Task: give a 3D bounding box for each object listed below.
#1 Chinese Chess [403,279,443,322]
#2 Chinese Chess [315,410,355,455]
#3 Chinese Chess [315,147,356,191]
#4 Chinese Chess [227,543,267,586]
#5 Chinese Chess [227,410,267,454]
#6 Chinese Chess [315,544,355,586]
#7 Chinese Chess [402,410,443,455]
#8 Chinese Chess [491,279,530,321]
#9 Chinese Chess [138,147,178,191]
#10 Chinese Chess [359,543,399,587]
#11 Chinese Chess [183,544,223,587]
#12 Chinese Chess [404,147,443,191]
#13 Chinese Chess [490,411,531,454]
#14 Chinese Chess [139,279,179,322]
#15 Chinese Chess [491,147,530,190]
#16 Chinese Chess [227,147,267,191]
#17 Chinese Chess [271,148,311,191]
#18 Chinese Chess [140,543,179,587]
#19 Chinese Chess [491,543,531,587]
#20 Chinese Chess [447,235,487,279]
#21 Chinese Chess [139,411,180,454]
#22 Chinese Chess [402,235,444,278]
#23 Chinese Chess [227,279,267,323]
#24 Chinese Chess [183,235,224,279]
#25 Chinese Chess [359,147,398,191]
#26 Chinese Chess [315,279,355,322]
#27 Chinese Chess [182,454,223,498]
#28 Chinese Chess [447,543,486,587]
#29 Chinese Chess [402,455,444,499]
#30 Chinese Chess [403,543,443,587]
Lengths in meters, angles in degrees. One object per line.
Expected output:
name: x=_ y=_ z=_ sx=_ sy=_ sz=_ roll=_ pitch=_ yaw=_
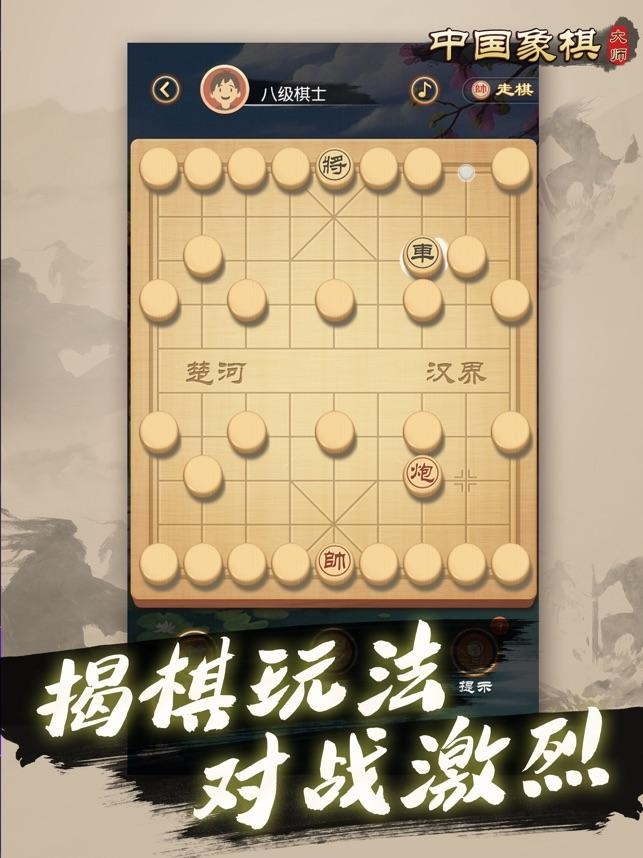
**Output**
Chinese Chess: x=0.218 y=-0.275 z=2.108 sx=0.107 sy=0.090 sz=0.023 roll=1 pitch=3 yaw=4
Chinese Chess: x=0.031 y=0.008 z=2.103 sx=0.099 sy=0.084 sz=0.022 roll=3 pitch=0 yaw=7
Chinese Chess: x=0.029 y=-0.563 z=2.116 sx=0.084 sy=0.089 sz=0.034 roll=-4 pitch=18 yaw=2
Chinese Chess: x=-0.159 y=0.297 z=2.099 sx=0.083 sy=0.090 sz=0.040 roll=-5 pitch=18 yaw=-3
Chinese Chess: x=-0.168 y=0.010 z=2.070 sx=0.097 sy=0.082 sz=0.021 roll=3 pitch=-1 yaw=8
Chinese Chess: x=0.029 y=0.297 z=2.101 sx=0.082 sy=0.085 sz=0.035 roll=-5 pitch=18 yaw=0
Chinese Chess: x=0.221 y=0.006 z=2.101 sx=0.110 sy=0.093 sz=0.024 roll=3 pitch=-1 yaw=4
Chinese Chess: x=0.409 y=-0.275 z=2.106 sx=0.083 sy=0.091 sz=0.035 roll=-3 pitch=18 yaw=6
Chinese Chess: x=-0.352 y=-0.565 z=2.119 sx=0.084 sy=0.094 sz=0.037 roll=-6 pitch=18 yaw=-6
Chinese Chess: x=0.124 y=0.296 z=2.096 sx=0.106 sy=0.089 sz=0.023 roll=3 pitch=2 yaw=0
Chinese Chess: x=-0.257 y=0.295 z=2.097 sx=0.095 sy=0.080 sz=0.020 roll=5 pitch=2 yaw=0
Chinese Chess: x=0.220 y=-0.569 z=2.110 sx=0.108 sy=0.091 sz=0.023 roll=2 pitch=3 yaw=1
Chinese Chess: x=0.409 y=0.007 z=2.101 sx=0.110 sy=0.093 sz=0.024 roll=1 pitch=0 yaw=5
Chinese Chess: x=-0.351 y=-0.275 z=2.115 sx=0.084 sy=0.092 sz=0.036 roll=-7 pitch=18 yaw=-7
Chinese Chess: x=0.410 y=-0.565 z=2.105 sx=0.096 sy=0.081 sz=0.020 roll=1 pitch=1 yaw=-1
Chinese Chess: x=-0.165 y=-0.554 z=2.089 sx=0.096 sy=0.081 sz=0.021 roll=2 pitch=3 yaw=4
Chinese Chess: x=-0.065 y=-0.565 z=2.112 sx=0.096 sy=0.081 sz=0.020 roll=2 pitch=2 yaw=3
Chinese Chess: x=-0.349 y=0.292 z=2.098 sx=0.095 sy=0.080 sz=0.021 roll=6 pitch=1 yaw=3
Chinese Chess: x=0.406 y=0.289 z=2.092 sx=0.110 sy=0.093 sz=0.023 roll=1 pitch=-1 yaw=3
Chinese Chess: x=0.317 y=-0.375 z=2.110 sx=0.110 sy=0.093 sz=0.024 roll=1 pitch=2 yaw=3
Chinese Chess: x=-0.353 y=0.010 z=2.101 sx=0.096 sy=0.082 sz=0.031 roll=10 pitch=0 yaw=0
Chinese Chess: x=0.219 y=-0.372 z=2.117 sx=0.088 sy=0.088 sz=0.037 roll=-2 pitch=18 yaw=7
Chinese Chess: x=-0.159 y=-0.274 z=2.114 sx=0.084 sy=0.094 sz=0.035 roll=-5 pitch=18 yaw=-1
Chinese Chess: x=-0.256 y=-0.371 z=2.119 sx=0.085 sy=0.094 sz=0.036 roll=-6 pitch=18 yaw=-6
Chinese Chess: x=0.123 y=-0.569 z=2.113 sx=0.105 sy=0.089 sz=0.023 roll=2 pitch=2 yaw=3
Chinese Chess: x=0.031 y=-0.278 z=2.109 sx=0.106 sy=0.090 sz=0.023 roll=1 pitch=-2 yaw=5
Chinese Chess: x=-0.255 y=0.108 z=2.115 sx=0.085 sy=0.091 sz=0.039 roll=-6 pitch=18 yaw=-5
Chinese Chess: x=0.310 y=0.296 z=2.098 sx=0.080 sy=0.090 sz=0.034 roll=-4 pitch=18 yaw=2
Chinese Chess: x=0.218 y=0.107 z=2.107 sx=0.085 sy=0.091 sz=0.039 roll=-3 pitch=18 yaw=5
Chinese Chess: x=0.218 y=0.297 z=2.097 sx=0.083 sy=0.090 sz=0.034 roll=-3 pitch=18 yaw=5
